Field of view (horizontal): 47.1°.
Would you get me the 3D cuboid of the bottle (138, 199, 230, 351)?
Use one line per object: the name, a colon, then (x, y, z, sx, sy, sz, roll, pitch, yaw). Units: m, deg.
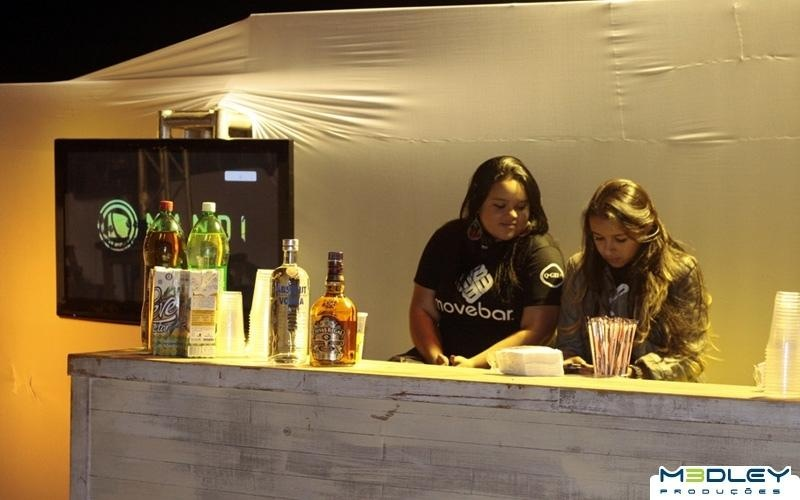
bottle: (-0.893, 0.089, 3.502, 0.159, 0.559, 0.195, 1, -3, -15)

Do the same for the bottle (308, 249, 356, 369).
bottle: (-0.237, 0.212, 3.361, 0.177, 0.411, 0.167, 1, -3, 0)

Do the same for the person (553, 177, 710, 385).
person: (1.013, 0.118, 4.040, 0.663, 0.884, 0.460, 0, -3, 16)

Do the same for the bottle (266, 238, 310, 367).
bottle: (-0.399, 0.187, 3.342, 0.142, 0.450, 0.086, 1, -3, -8)

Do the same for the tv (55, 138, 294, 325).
tv: (-1.241, -0.115, 4.957, 0.121, 0.916, 1.472, 2, 2, 37)
